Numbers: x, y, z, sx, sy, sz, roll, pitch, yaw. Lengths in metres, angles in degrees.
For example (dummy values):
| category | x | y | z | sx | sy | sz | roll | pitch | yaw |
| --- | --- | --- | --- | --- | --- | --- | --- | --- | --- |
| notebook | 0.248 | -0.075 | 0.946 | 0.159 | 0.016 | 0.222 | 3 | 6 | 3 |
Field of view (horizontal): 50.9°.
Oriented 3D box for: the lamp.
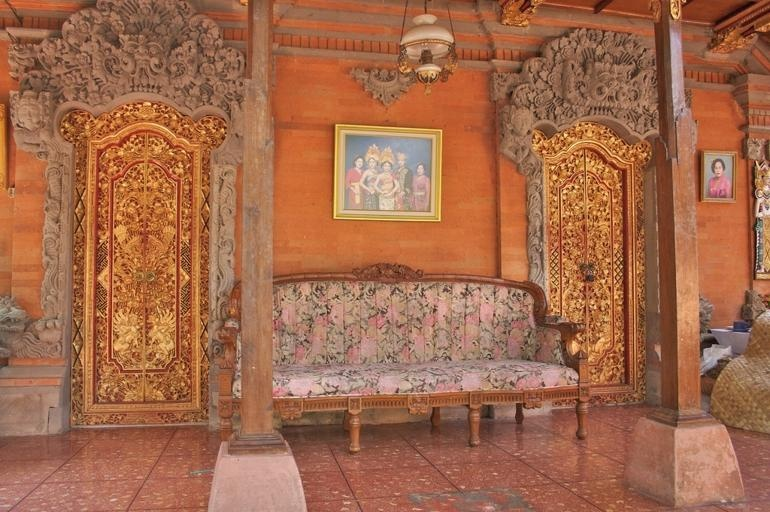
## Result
| category | x | y | z | sx | sy | sz | roll | pitch | yaw |
| --- | --- | --- | --- | --- | --- | --- | --- | --- | --- |
| lamp | 0.423 | -2.207 | 8.369 | 0.593 | 0.986 | 1.242 | 1 | 10 | 3 |

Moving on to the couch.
| category | x | y | z | sx | sy | sz | roll | pitch | yaw |
| --- | --- | --- | --- | --- | --- | --- | --- | --- | --- |
| couch | 0.170 | 0.981 | 8.356 | 3.699 | 1.694 | 1.223 | 1 | 3 | -18 |

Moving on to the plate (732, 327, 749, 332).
| category | x | y | z | sx | sy | sz | roll | pitch | yaw |
| --- | --- | --- | --- | --- | --- | --- | --- | --- | --- |
| plate | 4.037 | 0.840 | 9.208 | 0.173 | 0.041 | 0.198 | 4 | 11 | 21 |
